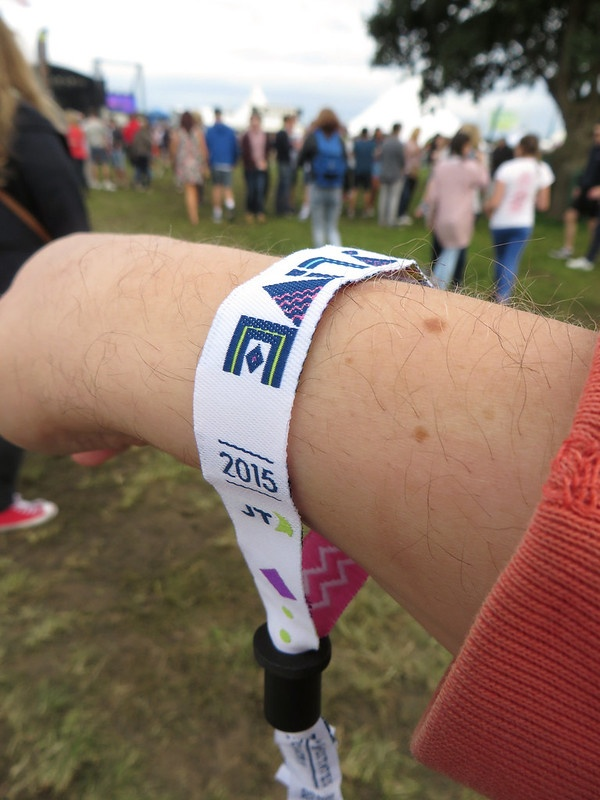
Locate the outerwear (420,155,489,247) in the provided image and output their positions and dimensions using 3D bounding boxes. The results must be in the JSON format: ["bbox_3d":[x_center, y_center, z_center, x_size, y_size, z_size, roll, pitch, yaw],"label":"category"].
[{"bbox_3d":[1.239,-1.547,5.127,0.341,0.596,0.469,-9,16,-41],"label":"outerwear"}]

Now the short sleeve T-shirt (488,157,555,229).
[{"bbox_3d":[1.687,-1.619,5.098,0.591,0.501,0.303,0,16,-9],"label":"short sleeve T-shirt"}]
